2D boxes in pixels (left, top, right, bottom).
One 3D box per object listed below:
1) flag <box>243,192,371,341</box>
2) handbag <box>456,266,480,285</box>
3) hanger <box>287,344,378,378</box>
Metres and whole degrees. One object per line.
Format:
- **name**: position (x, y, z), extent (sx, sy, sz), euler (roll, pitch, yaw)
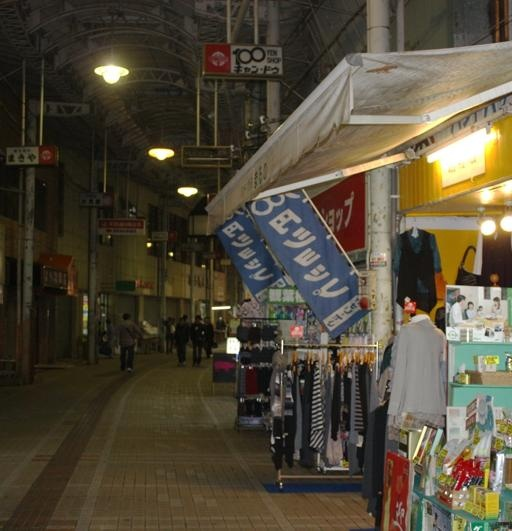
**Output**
- **flag**: position (0.627, -0.047, 9.201), extent (0.651, 1.676, 1.330), euler (2, -2, -40)
- **handbag**: position (2.522, 0.133, 9.491), extent (0.224, 0.313, 0.174), euler (3, -5, 6)
- **hanger**: position (0.760, 0.913, 7.977), extent (0.452, 0.292, 1.150), euler (3, -3, -43)
